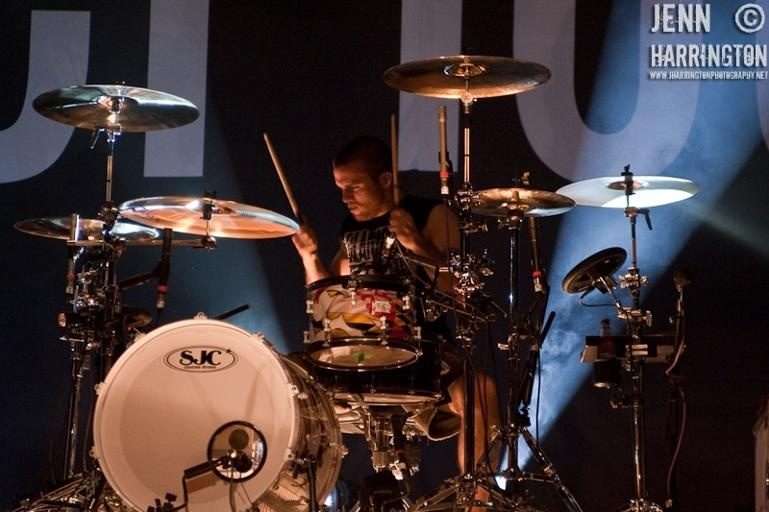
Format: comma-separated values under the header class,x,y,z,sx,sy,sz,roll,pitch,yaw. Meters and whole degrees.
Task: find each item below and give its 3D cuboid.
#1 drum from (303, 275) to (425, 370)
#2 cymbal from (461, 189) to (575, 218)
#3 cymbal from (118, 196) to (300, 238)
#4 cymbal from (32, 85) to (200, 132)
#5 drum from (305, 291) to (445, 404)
class,x,y,z,sx,sy,sz,roll,pitch,yaw
drum,-0.096,0.445,7.732,0.866,0.475,0.827,1,-14,0
cymbal,0.956,-0.381,8.157,0.406,0.061,0.384,6,-11,-7
cymbal,-1.182,-0.271,7.955,1.216,0.280,0.650,2,3,-11
cymbal,-1.933,-1.078,8.437,0.642,0.149,0.615,-9,-14,11
drum,-0.230,0.690,7.664,0.818,0.786,0.504,17,-22,-7
